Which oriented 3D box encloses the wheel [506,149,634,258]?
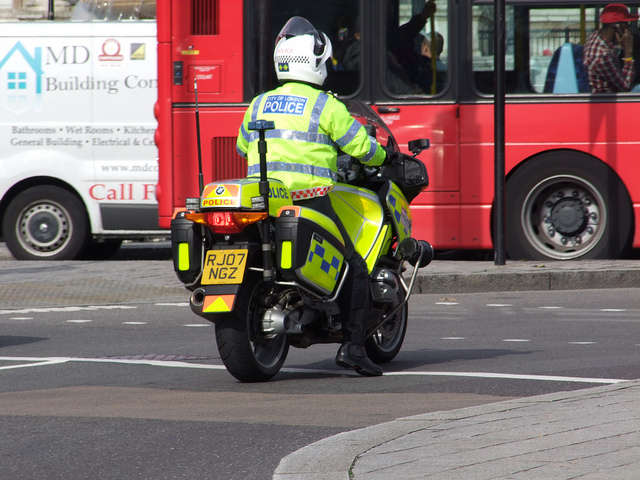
[{"bbox_3d":[3.260,-0.464,15.780,1.626,1.454,0.146,2,10,11],"label":"wheel"}]

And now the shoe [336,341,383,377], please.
[{"bbox_3d":[0.384,0.964,9.712,0.473,0.287,0.167,18,-13,-35],"label":"shoe"}]

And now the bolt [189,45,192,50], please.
[{"bbox_3d":[-1.728,-2.577,16.083,0.040,0.032,0.038,1,13,-6],"label":"bolt"}]

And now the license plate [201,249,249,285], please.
[{"bbox_3d":[-0.728,0.193,9.232,0.411,0.301,0.047,-2,-18,33],"label":"license plate"}]

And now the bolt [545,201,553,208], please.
[{"bbox_3d":[3.019,-0.478,15.831,0.068,0.057,0.078,-2,4,4],"label":"bolt"}]

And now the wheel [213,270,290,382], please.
[{"bbox_3d":[-0.536,0.675,9.499,0.229,0.936,0.622,8,13,41],"label":"wheel"}]

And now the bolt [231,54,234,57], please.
[{"bbox_3d":[-1.162,-2.475,16.065,0.020,0.019,0.005,9,12,-5],"label":"bolt"}]

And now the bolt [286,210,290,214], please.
[{"bbox_3d":[-0.249,-0.221,9.351,0.026,0.022,0.025,-2,11,-11],"label":"bolt"}]

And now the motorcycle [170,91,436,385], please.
[{"bbox_3d":[-0.134,0.082,9.728,1.943,2.122,0.694,-7,12,-34],"label":"motorcycle"}]

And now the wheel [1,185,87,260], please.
[{"bbox_3d":[-3.843,-0.390,17.628,1.077,1.149,1.057,0,15,0],"label":"wheel"}]

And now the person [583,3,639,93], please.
[{"bbox_3d":[3.790,-2.529,15.759,0.645,1.127,0.246,2,10,15],"label":"person"}]

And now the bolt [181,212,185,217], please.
[{"bbox_3d":[-1.087,-0.208,9.541,0.029,0.028,0.007,-1,-8,27],"label":"bolt"}]

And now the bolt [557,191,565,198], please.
[{"bbox_3d":[3.163,-0.605,15.841,0.065,0.049,0.117,8,14,0],"label":"bolt"}]

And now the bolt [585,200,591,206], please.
[{"bbox_3d":[3.498,-0.495,15.753,0.073,0.076,0.007,3,11,18],"label":"bolt"}]
